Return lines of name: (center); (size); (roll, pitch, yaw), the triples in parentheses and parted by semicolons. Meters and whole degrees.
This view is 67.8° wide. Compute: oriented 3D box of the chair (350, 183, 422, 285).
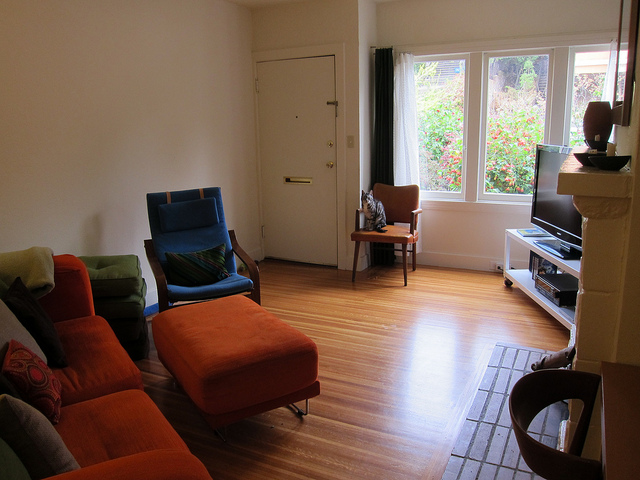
chair: (0.832, -0.092, 5.228); (0.840, 1.456, 0.953); (3, 11, 20)

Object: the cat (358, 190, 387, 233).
cat: (0.556, -0.306, 5.003); (0.282, 0.404, 0.302); (-1, 15, 7)

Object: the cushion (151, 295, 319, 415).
cushion: (-0.579, 0.690, 3.017); (0.781, 0.391, 1.044); (-8, 15, -39)

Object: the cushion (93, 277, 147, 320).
cushion: (-1.404, 0.458, 3.388); (0.370, 0.200, 0.205); (-13, 18, -34)

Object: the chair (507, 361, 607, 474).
chair: (1.003, 0.756, 2.001); (0.287, 0.455, 0.372); (-14, 37, 28)

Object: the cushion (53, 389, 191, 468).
cushion: (-0.910, 0.833, 2.094); (0.342, 0.091, 0.360); (-1, 23, -32)

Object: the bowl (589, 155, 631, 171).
bowl: (1.267, -0.337, 2.090); (0.152, 0.070, 0.094); (9, 19, 36)

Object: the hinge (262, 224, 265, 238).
hinge: (-0.681, -0.099, 5.719); (0.027, 0.155, 0.003); (3, 15, 20)

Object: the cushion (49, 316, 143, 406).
cushion: (-1.304, 0.667, 2.642); (0.421, 0.143, 0.608); (-12, 33, -42)

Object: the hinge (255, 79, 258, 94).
hinge: (-0.721, -1.741, 5.402); (0.034, 0.150, 0.016); (-1, 14, 5)

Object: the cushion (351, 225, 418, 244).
cushion: (0.679, -0.045, 5.000); (0.653, 0.162, 0.443); (2, 16, 16)

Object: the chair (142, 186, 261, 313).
chair: (-1.042, 0.105, 3.979); (0.860, 1.236, 1.088); (-7, 24, -22)

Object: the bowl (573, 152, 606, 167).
bowl: (1.250, -0.372, 2.207); (0.103, 0.044, 0.136); (3, 2, 12)

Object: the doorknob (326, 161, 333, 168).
doorknob: (0.100, -0.822, 5.208); (0.058, 0.063, 0.018); (10, 7, 26)

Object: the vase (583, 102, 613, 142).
vase: (1.501, -0.632, 2.551); (0.114, 0.202, 0.200); (0, 15, 10)

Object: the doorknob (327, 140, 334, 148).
doorknob: (0.106, -1.038, 5.167); (0.051, 0.058, 0.020); (15, 17, 27)
